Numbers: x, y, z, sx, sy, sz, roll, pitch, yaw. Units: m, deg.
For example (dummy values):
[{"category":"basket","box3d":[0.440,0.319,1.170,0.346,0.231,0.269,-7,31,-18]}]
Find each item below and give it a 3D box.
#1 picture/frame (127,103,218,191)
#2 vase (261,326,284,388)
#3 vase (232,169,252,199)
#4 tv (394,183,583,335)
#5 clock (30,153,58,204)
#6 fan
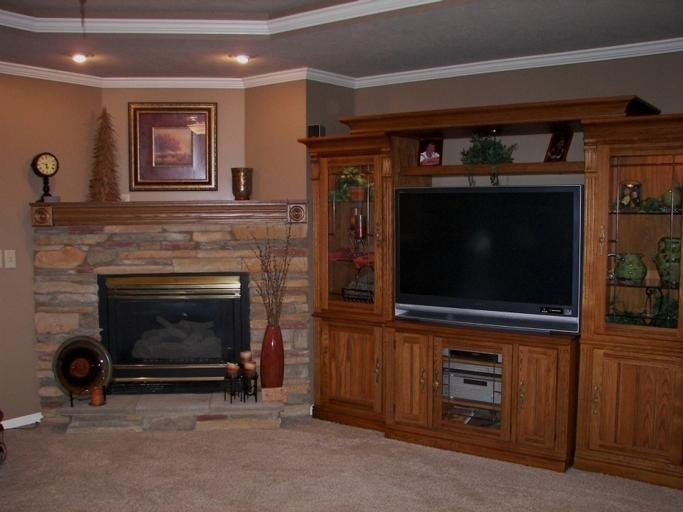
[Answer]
[{"category":"picture/frame","box3d":[-1.656,-1.092,5.635,0.974,0.840,0.072,1,4,1]},{"category":"vase","box3d":[-0.614,0.877,5.117,0.211,0.547,0.162,-4,12,-10]},{"category":"vase","box3d":[-0.905,-0.665,5.328,0.185,0.289,0.383,-4,11,-11]},{"category":"tv","box3d":[1.180,0.026,4.468,1.387,0.890,0.092,2,5,25]},{"category":"clock","box3d":[-2.622,-0.719,5.230,0.249,0.431,0.241,-10,14,-35]},{"category":"fan","box3d":[-2.249,0.970,5.048,0.471,0.534,0.230,-5,12,-18]}]
